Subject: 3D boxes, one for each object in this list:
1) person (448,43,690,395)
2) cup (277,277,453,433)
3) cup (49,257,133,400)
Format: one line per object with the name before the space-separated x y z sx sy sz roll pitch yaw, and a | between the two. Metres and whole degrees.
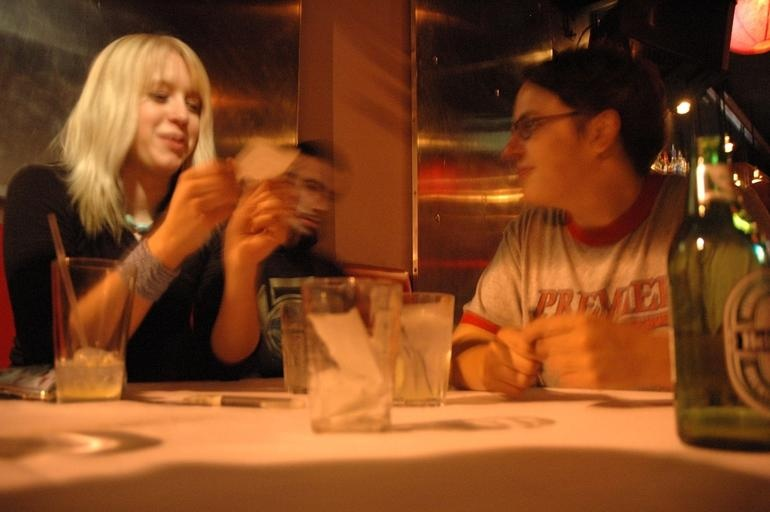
person | 0.531 -0.099 1.958 0.615 1.024 1.043 5 14 23
cup | -0.028 0.156 1.186 0.208 0.206 0.296 2 4 38
cup | -0.613 0.166 1.332 0.184 0.274 0.165 -2 -17 -32
